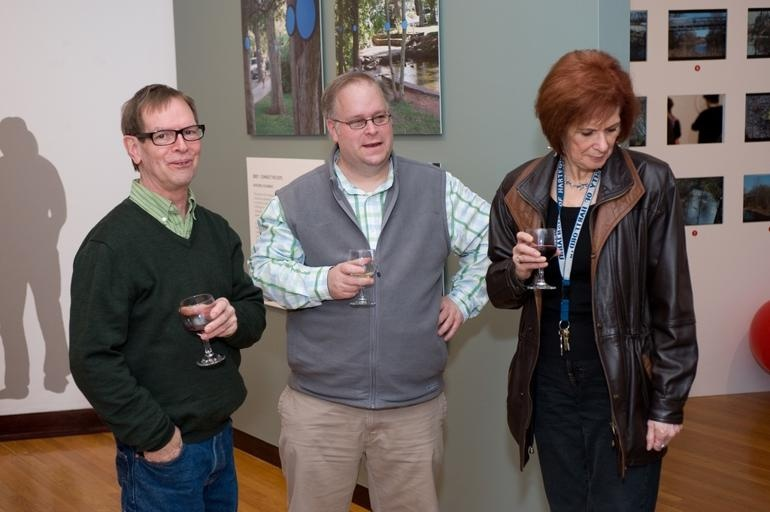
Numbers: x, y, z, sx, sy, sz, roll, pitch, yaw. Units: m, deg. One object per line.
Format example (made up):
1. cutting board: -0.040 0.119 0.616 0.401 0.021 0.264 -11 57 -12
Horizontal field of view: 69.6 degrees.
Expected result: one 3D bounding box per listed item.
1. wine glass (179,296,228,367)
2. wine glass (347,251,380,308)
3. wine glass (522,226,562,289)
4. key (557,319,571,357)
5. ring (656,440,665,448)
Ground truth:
1. wine glass: -0.731 0.313 2.260 0.131 0.333 0.141 -9 13 -17
2. wine glass: -0.095 0.095 2.410 0.122 0.267 0.193 -6 13 -4
3. wine glass: 0.651 0.023 2.301 0.121 0.286 0.171 -1 13 15
4. key: 0.750 0.343 2.314 0.046 0.135 0.133 3 5 8
5. ring: 1.103 0.753 2.223 0.025 0.025 0.019 -3 -24 -4
